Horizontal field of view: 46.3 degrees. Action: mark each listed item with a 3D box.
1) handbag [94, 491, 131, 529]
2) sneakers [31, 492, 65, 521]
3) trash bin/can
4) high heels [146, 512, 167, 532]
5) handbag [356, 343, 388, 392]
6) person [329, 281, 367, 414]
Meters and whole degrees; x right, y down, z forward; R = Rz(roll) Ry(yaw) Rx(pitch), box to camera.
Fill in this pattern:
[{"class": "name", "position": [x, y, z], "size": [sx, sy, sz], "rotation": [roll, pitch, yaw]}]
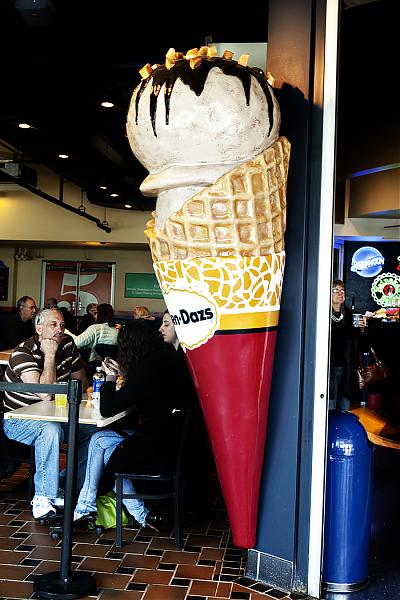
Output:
[{"class": "handbag", "position": [-0.554, 1.246, 2.750], "size": [0.162, 0.213, 0.066], "rotation": [-1, -36, -22]}, {"class": "sneakers", "position": [-0.897, 1.205, 2.717], "size": [0.185, 0.172, 0.137], "rotation": [0, -4, -4]}, {"class": "trash bin/can", "position": [0.607, 0.856, 1.956], "size": [0.205, 0.692, 0.105], "rotation": [1, -4, -21]}, {"class": "high heels", "position": [-0.260, 1.303, 2.734], "size": [0.106, 0.039, 0.060], "rotation": [34, -26, -33]}, {"class": "handbag", "position": [1.775, 0.698, 4.850], "size": [0.346, 0.405, 0.117], "rotation": [-25, -27, 20]}, {"class": "person", "position": [1.461, 0.463, 4.661], "size": [0.315, 1.318, 1.902], "rotation": [-2, -4, 20]}]
